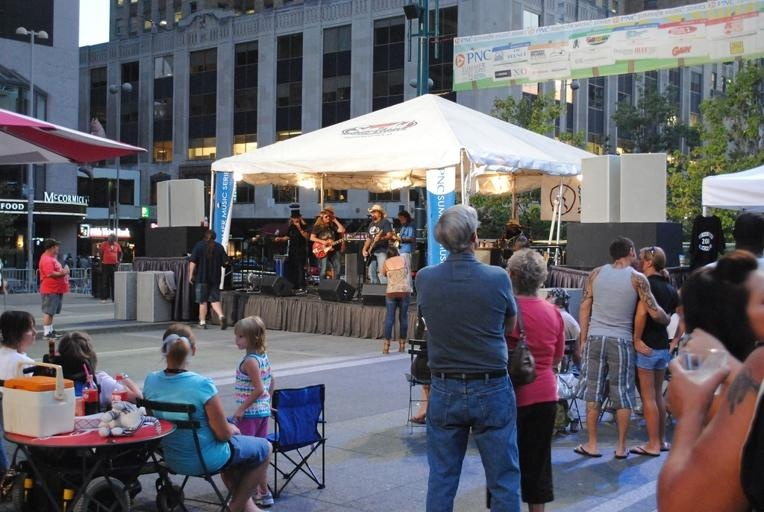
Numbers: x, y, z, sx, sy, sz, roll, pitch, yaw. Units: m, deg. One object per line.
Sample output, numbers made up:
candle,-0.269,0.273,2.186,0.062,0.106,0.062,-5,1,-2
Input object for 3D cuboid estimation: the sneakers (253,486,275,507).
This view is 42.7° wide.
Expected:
sneakers,-1.726,3.489,14.172,0.147,0.184,0.356,3,0,-43

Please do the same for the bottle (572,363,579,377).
bottle,3.398,1.992,17.147,0.047,0.188,0.181,8,-8,-24

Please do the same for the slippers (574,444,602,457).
slippers,3.272,3.089,15.510,0.303,0.102,0.174,8,0,38

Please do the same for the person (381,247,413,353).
person,0.322,0.980,21.507,0.603,2.354,0.835,-1,1,1

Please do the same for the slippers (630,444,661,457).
slippers,4.183,3.046,15.457,0.420,0.114,0.187,-1,-4,41

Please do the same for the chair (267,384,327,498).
chair,-1.480,2.709,14.802,1.223,1.566,1.267,1,0,-10

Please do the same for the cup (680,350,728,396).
cup,3.447,1.242,10.495,0.449,0.379,0.427,-1,0,0

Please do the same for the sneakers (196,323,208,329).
sneakers,-4.529,1.760,24.643,0.109,0.139,0.315,1,1,-21

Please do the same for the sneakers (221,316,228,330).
sneakers,-3.983,1.678,24.546,0.126,0.382,0.263,-3,26,-26

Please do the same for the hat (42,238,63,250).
hat,-7.481,-0.266,22.075,0.226,0.303,0.290,3,16,24

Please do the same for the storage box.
storage box,-4.621,1.877,13.369,1.086,1.202,0.804,1,2,36

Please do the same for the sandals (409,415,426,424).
sandals,0.622,2.746,16.469,0.342,0.155,0.124,2,-4,19

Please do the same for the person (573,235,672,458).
person,3.673,1.438,15.446,1.237,3.432,0.418,-1,1,12
